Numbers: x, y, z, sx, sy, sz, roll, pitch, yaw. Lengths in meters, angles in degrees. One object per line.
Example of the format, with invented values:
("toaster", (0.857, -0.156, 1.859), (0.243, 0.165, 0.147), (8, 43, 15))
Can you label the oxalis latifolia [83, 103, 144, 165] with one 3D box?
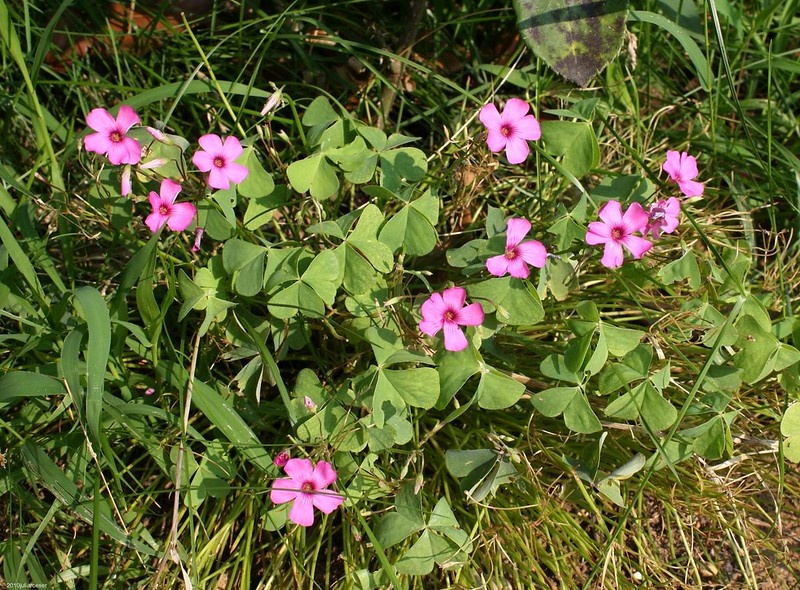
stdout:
("oxalis latifolia", (-0.843, -0.480, 2.070), (0.140, 0.194, 0.163), (3, -5, 1))

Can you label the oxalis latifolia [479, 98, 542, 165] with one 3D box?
("oxalis latifolia", (0.320, -0.495, 2.083), (0.179, 0.202, 0.070), (18, 48, 25))

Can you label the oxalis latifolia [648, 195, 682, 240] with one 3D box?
("oxalis latifolia", (0.805, -0.237, 2.135), (0.110, 0.114, 0.050), (-30, 8, 18))

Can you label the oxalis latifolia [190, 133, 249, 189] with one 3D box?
("oxalis latifolia", (-0.532, -0.399, 2.080), (0.134, 0.159, 0.190), (-26, -5, -1))

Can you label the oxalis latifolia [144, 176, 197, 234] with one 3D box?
("oxalis latifolia", (-0.697, -0.261, 2.047), (0.182, 0.067, 0.164), (4, -36, -48))

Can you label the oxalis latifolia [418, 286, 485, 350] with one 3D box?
("oxalis latifolia", (0.136, 0.063, 1.983), (0.159, 0.076, 0.211), (-14, 34, 2))
